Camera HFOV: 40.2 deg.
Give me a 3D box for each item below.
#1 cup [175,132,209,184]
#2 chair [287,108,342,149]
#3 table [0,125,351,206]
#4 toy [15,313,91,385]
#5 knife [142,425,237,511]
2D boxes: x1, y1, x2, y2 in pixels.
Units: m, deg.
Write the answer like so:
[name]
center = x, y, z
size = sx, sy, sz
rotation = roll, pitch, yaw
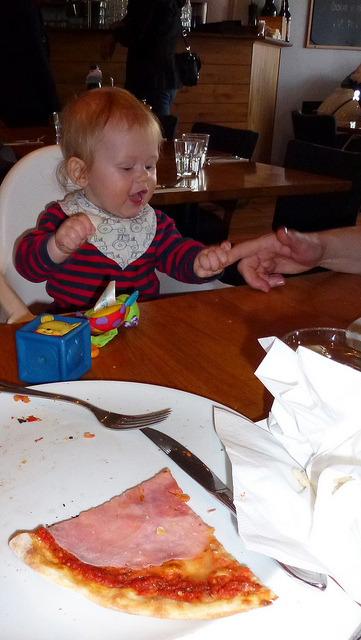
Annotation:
[cup]
center = 0.021, -0.623, 1.869
size = 0.133, 0.162, 0.144
rotation = -1, 24, 0
[chair]
center = 0.992, -1.384, 3.591
size = 0.263, 0.223, 0.450
rotation = -15, 33, -32
[table]
center = -0.083, -0.627, 1.986
size = 1.131, 0.114, 1.052
rotation = -12, 32, -27
[toy]
center = -0.133, 0.025, 0.543
size = 0.064, 0.070, 0.069
rotation = 2, 9, 12
[knife]
center = 0.001, 0.110, 0.376
size = 0.019, 0.007, 0.159
rotation = -23, 26, -15
